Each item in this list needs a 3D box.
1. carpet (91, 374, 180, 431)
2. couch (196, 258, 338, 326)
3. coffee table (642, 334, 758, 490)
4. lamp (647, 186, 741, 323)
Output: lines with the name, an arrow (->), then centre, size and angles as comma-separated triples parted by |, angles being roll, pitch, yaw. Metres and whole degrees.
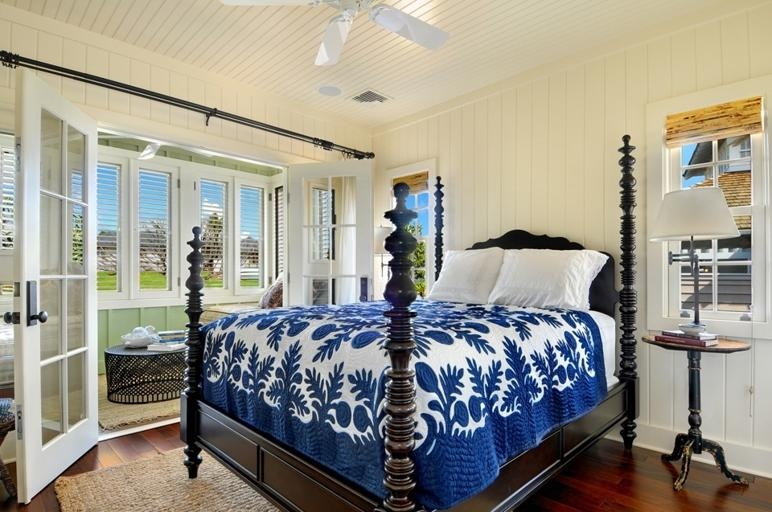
carpet -> -2.418, 1.491, 5.609 | 0.721, 0.138, 1.059 | 1, -2, -25
couch -> -1.492, 0.507, 6.600 | 0.993, 0.841, 0.981 | 10, -15, -32
coffee table -> 2.409, 1.179, 4.450 | 0.718, 1.135, 0.548 | -1, -2, 23
lamp -> 2.473, 0.077, 4.573 | 0.624, 1.185, 0.623 | -8, 6, -36
